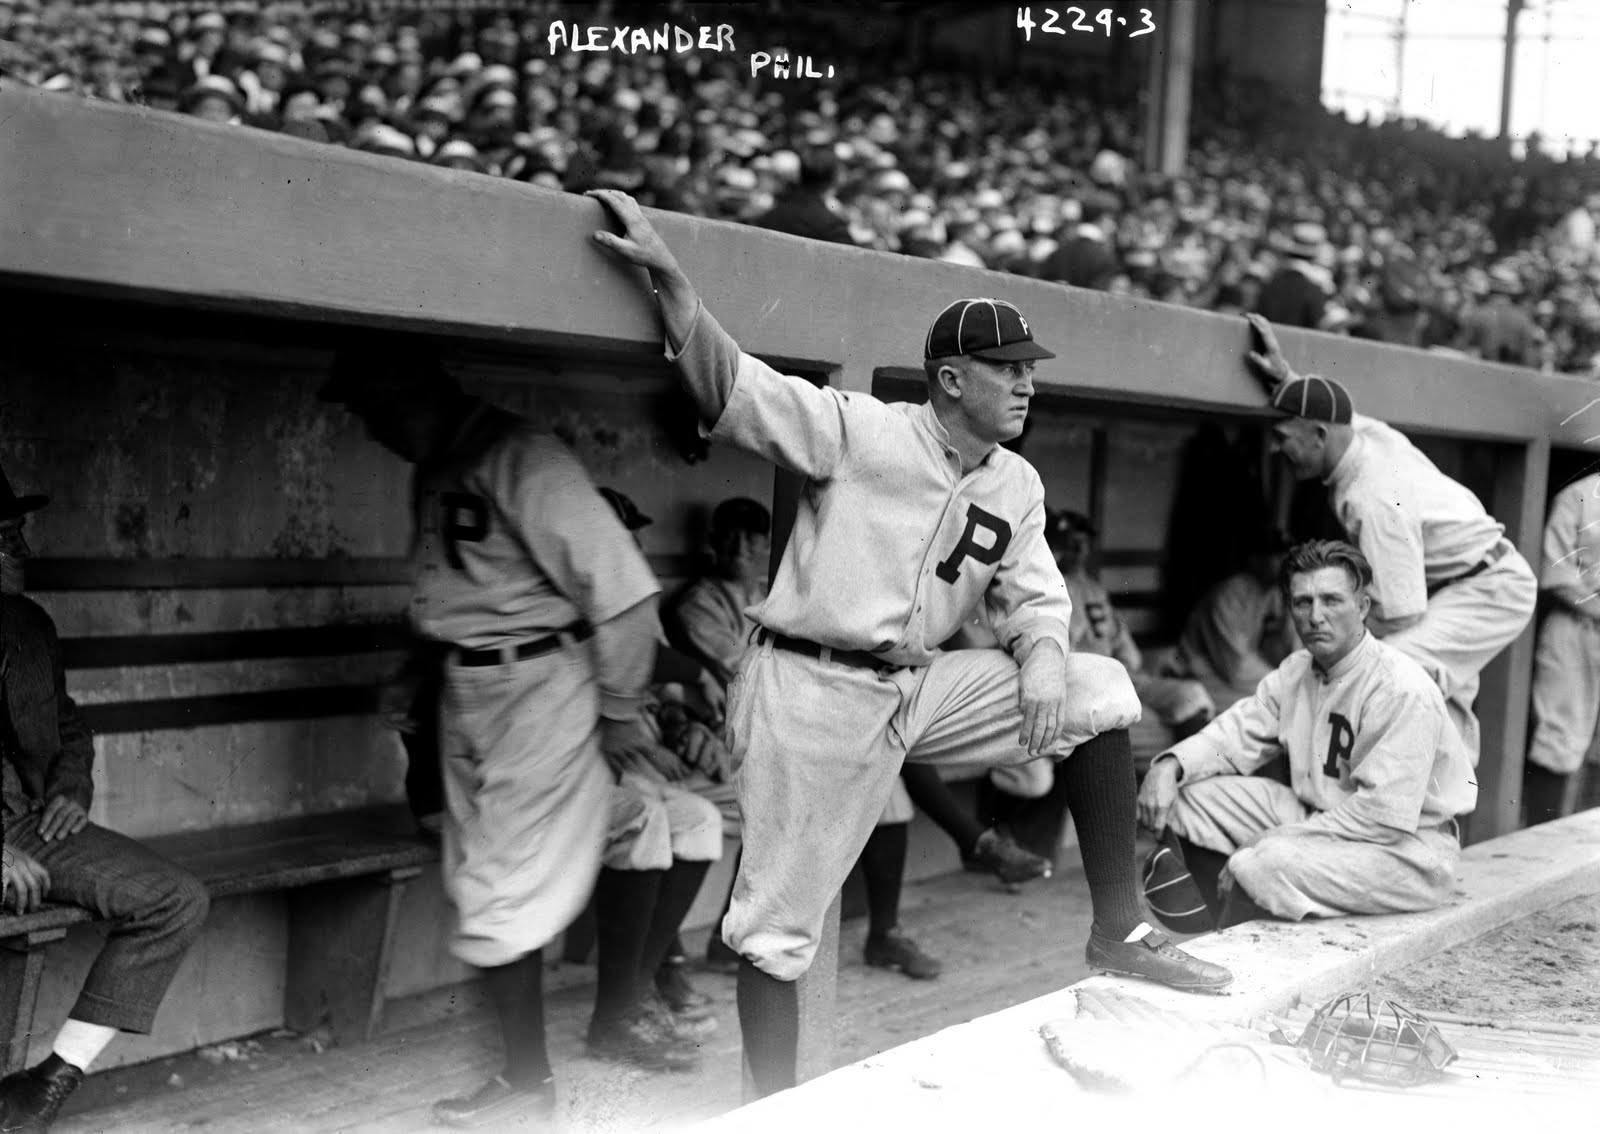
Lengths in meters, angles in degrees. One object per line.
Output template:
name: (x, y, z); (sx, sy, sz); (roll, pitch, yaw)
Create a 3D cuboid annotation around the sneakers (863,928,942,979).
sneakers: (0.355, 1.386, 6.504); (0.335, 0.160, 0.117); (4, 9, 24)

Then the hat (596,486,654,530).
hat: (-0.564, -0.193, 5.733); (0.082, 0.193, 0.059); (-34, 6, 17)

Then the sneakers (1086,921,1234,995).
sneakers: (1.010, 1.133, 5.242); (0.491, 0.199, 0.171); (8, 5, 5)

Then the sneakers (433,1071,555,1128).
sneakers: (-0.874, 1.548, 5.232); (0.283, 0.116, 0.151); (3, -5, -9)

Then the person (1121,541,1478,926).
person: (1.643, 0.642, 5.943); (1.114, 1.365, 0.957); (3, 0, 23)

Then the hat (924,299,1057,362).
hat: (0.504, -0.647, 4.992); (0.262, 0.130, 0.198); (1, 11, 15)

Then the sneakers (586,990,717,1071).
sneakers: (-0.440, 1.452, 5.619); (0.421, 0.300, 0.164); (3, 0, -3)

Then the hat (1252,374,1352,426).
hat: (1.788, -0.592, 6.377); (0.168, 0.101, 0.251); (6, 13, -24)
